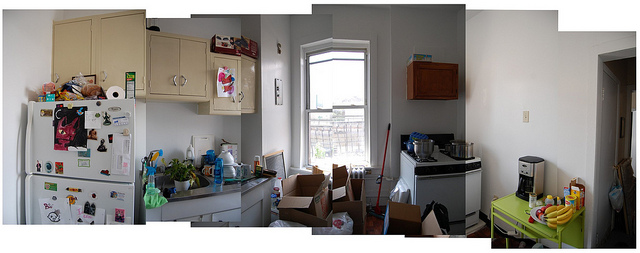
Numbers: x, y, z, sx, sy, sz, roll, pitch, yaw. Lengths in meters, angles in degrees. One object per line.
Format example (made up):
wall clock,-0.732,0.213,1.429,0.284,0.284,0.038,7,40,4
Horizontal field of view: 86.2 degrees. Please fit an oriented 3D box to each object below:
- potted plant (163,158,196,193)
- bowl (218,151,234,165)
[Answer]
potted plant,-2.123,0.738,5.140,0.522,0.333,0.568,3,9,-43
bowl,-1.387,0.455,5.098,0.193,0.186,0.225,14,-11,40
